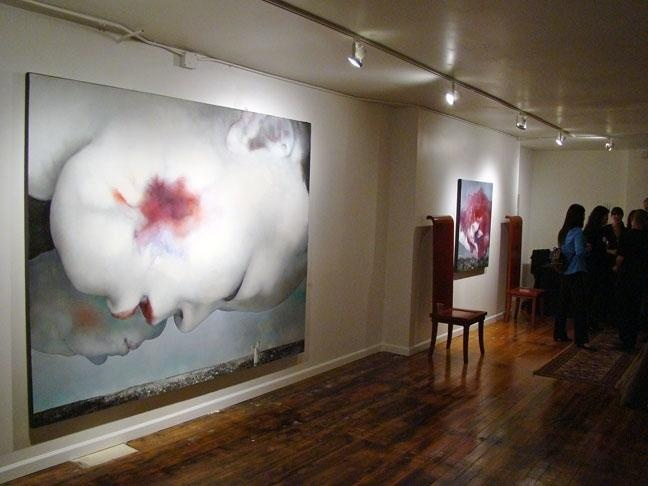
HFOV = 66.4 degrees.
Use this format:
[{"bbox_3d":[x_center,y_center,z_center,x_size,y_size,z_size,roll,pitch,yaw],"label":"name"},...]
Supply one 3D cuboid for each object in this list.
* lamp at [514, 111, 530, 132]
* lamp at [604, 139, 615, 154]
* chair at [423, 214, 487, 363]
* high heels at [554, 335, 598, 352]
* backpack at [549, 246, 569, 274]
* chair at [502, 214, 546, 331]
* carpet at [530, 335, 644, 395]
[{"bbox_3d":[2.670,-1.654,6.644,0.202,0.219,0.379,11,1,18],"label":"lamp"},{"bbox_3d":[4.969,-1.693,8.559,0.139,0.238,0.127,13,22,38],"label":"lamp"},{"bbox_3d":[1.625,0.545,6.222,0.717,1.742,0.786,-2,7,-28],"label":"chair"},{"bbox_3d":[3.446,1.395,6.743,0.442,0.128,0.162,7,8,37],"label":"high heels"},{"bbox_3d":[3.223,0.249,6.745,0.185,0.516,0.480,-2,-2,19],"label":"backpack"},{"bbox_3d":[3.372,0.431,8.380,0.619,1.785,1.454,4,7,24],"label":"chair"},{"bbox_3d":[3.351,1.453,6.107,0.878,0.087,2.022,7,9,40],"label":"carpet"}]
